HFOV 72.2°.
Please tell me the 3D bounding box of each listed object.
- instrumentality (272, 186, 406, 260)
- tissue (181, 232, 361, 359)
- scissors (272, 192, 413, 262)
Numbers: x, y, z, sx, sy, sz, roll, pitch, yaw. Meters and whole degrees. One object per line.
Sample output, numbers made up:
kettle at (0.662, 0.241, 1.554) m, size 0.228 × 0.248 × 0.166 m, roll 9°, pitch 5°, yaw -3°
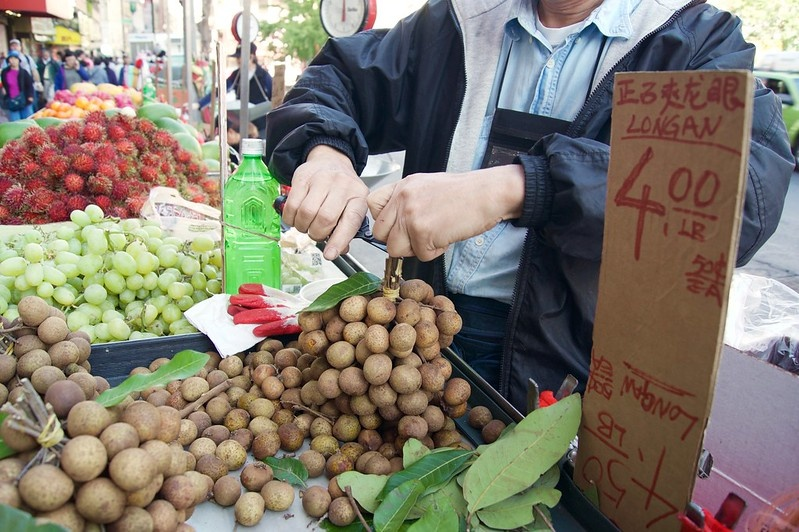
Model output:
instrumentality at (-0.223, -0.152, 1.897) m, size 0.444 × 0.077 × 0.110 m, roll 37°, pitch -7°, yaw 2°
tissue at (-0.485, 0.048, 2.051) m, size 0.346 × 0.176 × 0.532 m, roll 25°, pitch 32°, yaw 31°
scissors at (-0.212, -0.139, 1.898) m, size 0.398 × 0.097 × 0.081 m, roll 38°, pitch 62°, yaw 2°
